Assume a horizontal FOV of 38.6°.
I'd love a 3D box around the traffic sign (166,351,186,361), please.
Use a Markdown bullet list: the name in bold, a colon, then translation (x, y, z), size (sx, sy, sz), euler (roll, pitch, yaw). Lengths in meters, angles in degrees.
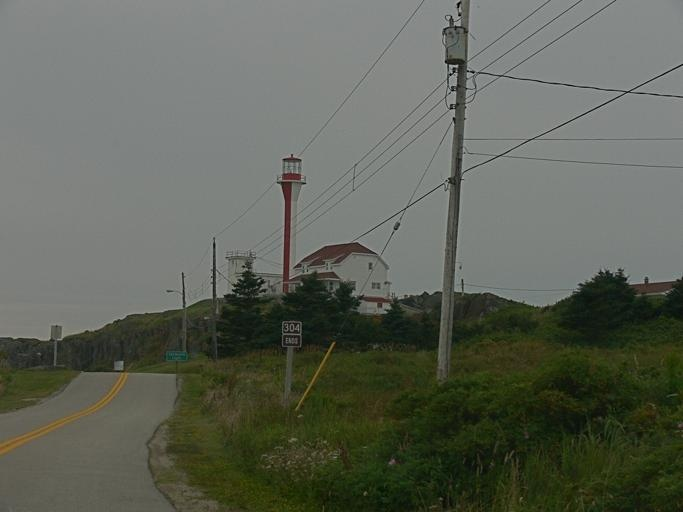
- **traffic sign**: translation (-7.667, 4.576, 45.481), size (0.709, 0.494, 2.357), euler (3, -9, -5)
